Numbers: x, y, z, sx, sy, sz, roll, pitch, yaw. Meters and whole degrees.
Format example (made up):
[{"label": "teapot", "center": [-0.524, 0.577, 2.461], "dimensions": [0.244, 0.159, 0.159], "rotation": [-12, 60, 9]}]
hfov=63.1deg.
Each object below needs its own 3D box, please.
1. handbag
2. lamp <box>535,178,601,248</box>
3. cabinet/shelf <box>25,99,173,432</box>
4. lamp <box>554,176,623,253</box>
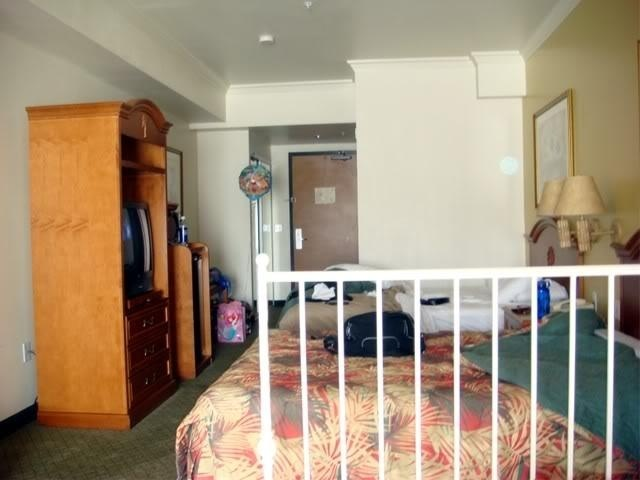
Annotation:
[{"label": "handbag", "center": [0.328, 0.579, 3.146], "dimensions": [0.396, 0.150, 0.305], "rotation": [0, 1, -3]}, {"label": "lamp", "center": [1.743, -0.177, 3.580], "dimensions": [0.329, 0.483, 0.465], "rotation": [-4, 2, -28]}, {"label": "cabinet/shelf", "center": [-1.656, 0.128, 3.952], "dimensions": [0.840, 2.325, 0.802], "rotation": [-2, 6, 3]}, {"label": "lamp", "center": [1.794, -0.182, 3.528], "dimensions": [0.356, 0.486, 0.330], "rotation": [-2, -1, 18]}]
